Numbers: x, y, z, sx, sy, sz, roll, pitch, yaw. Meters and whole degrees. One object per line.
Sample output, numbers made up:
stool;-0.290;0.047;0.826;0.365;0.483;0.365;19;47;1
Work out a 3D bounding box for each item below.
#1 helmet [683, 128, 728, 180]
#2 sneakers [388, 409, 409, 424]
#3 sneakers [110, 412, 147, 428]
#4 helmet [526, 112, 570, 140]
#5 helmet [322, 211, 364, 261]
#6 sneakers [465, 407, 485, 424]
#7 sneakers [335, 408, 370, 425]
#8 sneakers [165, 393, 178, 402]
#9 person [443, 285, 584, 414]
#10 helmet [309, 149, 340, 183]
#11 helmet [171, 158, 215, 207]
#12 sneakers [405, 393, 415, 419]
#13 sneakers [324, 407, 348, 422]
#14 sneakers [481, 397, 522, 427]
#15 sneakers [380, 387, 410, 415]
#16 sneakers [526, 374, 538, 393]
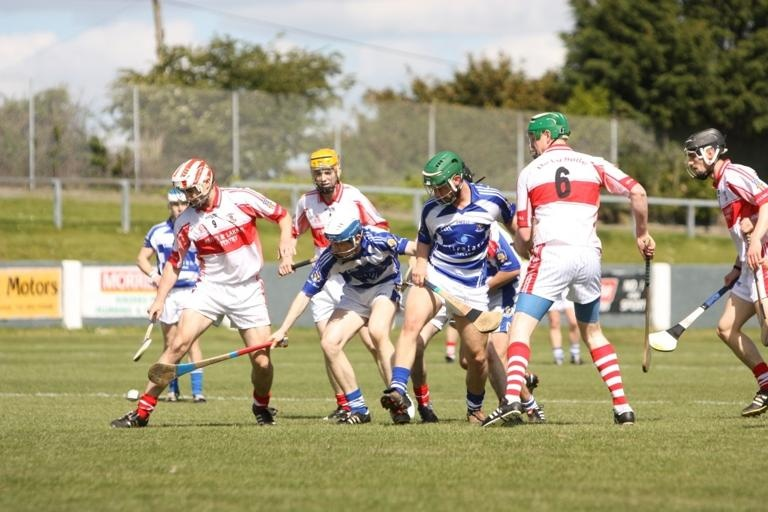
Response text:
helmet;3.864;-1.257;16.605;0.625;0.573;0.465;-11;2;6
sneakers;0.188;1.898;15.779;0.127;0.147;0.221;-5;0;-18
sneakers;-2.987;1.941;15.737;0.434;0.186;0.166;5;7;-11
helmet;1.971;-1.556;15.941;0.423;0.298;0.319;-8;7;10
helmet;-0.508;-0.242;16.063;0.435;0.504;0.549;-23;6;-3
sneakers;1.144;1.931;16.122;0.236;0.220;0.122;-2;5;38
sneakers;-0.365;1.948;16.148;0.425;0.170;0.149;0;2;3
sneakers;-2.871;1.937;18.196;0.153;0.090;0.145;7;43;-3
person;1.567;1.225;16.393;1.017;1.690;0.508;-4;-10;4
helmet;-0.707;-1.114;16.597;0.419;0.393;0.289;-1;2;-19
helmet;-2.237;-0.853;15.825;0.494;0.545;0.232;-1;2;-13
sneakers;0.289;1.805;15.931;0.113;0.315;0.140;-1;5;9
sneakers;-0.624;1.967;16.547;0.351;0.147;0.115;2;1;-13
sneakers;1.449;1.804;15.396;0.593;0.264;0.220;-16;-26;35
sneakers;0.132;1.681;15.620;0.191;0.198;0.437;6;-39;19
sneakers;1.840;1.562;16.528;0.202;0.257;0.118;1;5;8
